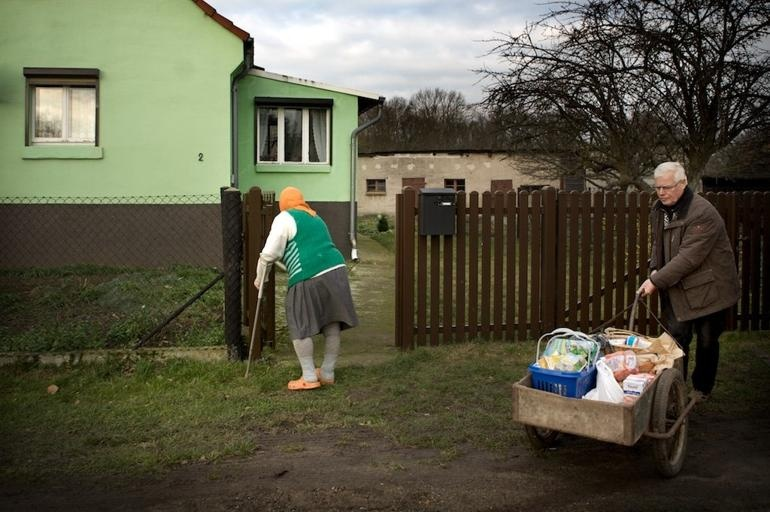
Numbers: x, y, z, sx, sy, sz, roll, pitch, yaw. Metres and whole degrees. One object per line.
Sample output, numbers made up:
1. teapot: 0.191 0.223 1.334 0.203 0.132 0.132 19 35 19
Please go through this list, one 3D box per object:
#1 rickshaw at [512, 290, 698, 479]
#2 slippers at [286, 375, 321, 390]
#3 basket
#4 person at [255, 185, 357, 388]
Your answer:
1. rickshaw: 2.431 1.400 7.824 1.445 1.290 1.795 2 3 33
2. slippers: -1.029 1.652 9.325 0.327 0.170 0.185 3 -9 5
3. basket: 1.930 1.135 7.786 0.566 0.838 0.805 0 -2 38
4. person: -0.961 0.354 9.305 1.255 2.664 0.935 0 0 13
